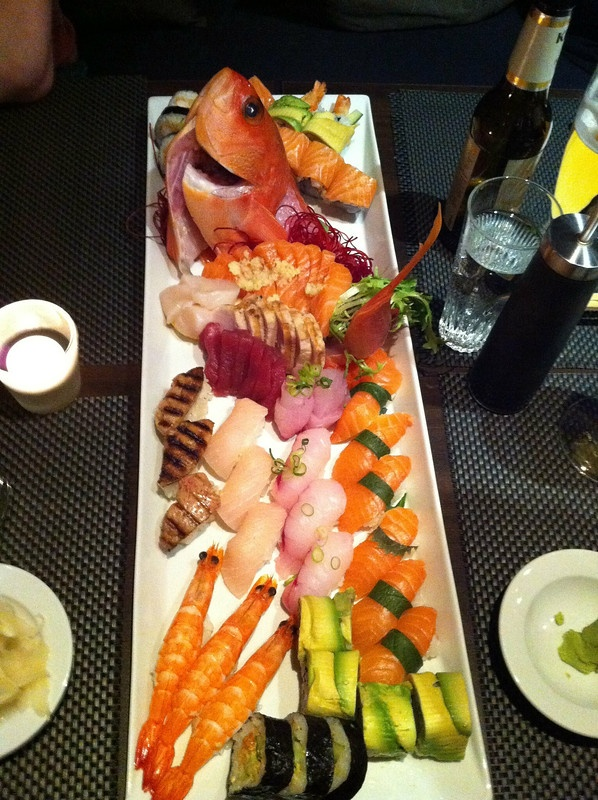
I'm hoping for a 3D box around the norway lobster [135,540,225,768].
[{"bbox_3d":[-0.241,0.494,1.309,0.072,0.057,0.420,24,50,4],"label":"norway lobster"}]

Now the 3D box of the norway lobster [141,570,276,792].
[{"bbox_3d":[-0.177,0.543,1.324,0.097,0.080,0.551,40,58,2],"label":"norway lobster"}]
